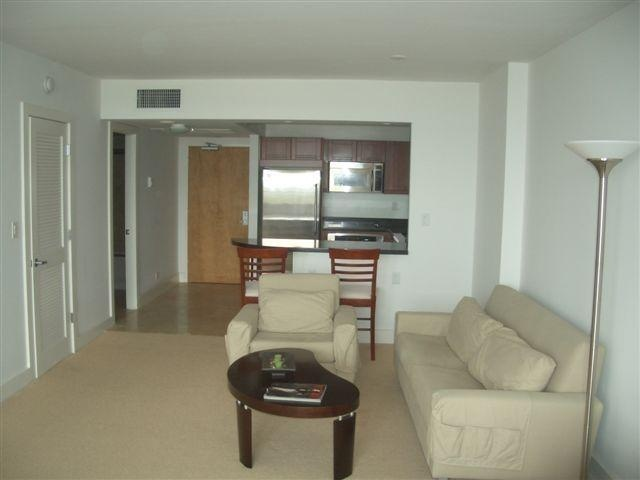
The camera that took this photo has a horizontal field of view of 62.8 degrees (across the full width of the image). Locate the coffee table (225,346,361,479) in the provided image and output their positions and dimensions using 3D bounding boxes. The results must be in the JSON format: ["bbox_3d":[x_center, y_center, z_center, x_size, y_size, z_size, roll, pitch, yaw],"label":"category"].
[{"bbox_3d":[-0.261,1.272,4.022,0.856,0.667,1.120,-4,13,-23],"label":"coffee table"}]

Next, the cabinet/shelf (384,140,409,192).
[{"bbox_3d":[1.173,-1.119,8.041,0.371,0.786,0.097,2,13,6],"label":"cabinet/shelf"}]

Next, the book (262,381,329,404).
[{"bbox_3d":[-0.175,1.088,3.720,0.447,0.036,0.256,1,11,0],"label":"book"}]

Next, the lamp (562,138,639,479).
[{"bbox_3d":[1.786,0.461,3.591,0.396,2.256,0.687,8,14,28],"label":"lamp"}]

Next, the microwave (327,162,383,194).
[{"bbox_3d":[0.550,-0.973,8.035,0.748,0.455,0.455,0,6,-3],"label":"microwave"}]

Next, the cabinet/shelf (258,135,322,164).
[{"bbox_3d":[-0.440,-1.351,7.724,0.879,0.309,0.147,-1,12,-10],"label":"cabinet/shelf"}]
